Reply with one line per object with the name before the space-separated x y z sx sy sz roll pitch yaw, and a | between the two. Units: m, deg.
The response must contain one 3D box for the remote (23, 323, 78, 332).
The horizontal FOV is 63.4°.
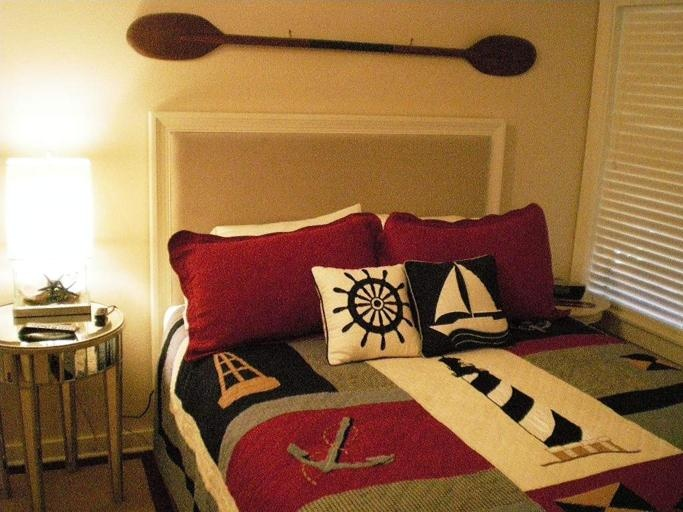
remote | -1.184 0.286 2.253 0.135 0.022 0.076 5 7 -13
